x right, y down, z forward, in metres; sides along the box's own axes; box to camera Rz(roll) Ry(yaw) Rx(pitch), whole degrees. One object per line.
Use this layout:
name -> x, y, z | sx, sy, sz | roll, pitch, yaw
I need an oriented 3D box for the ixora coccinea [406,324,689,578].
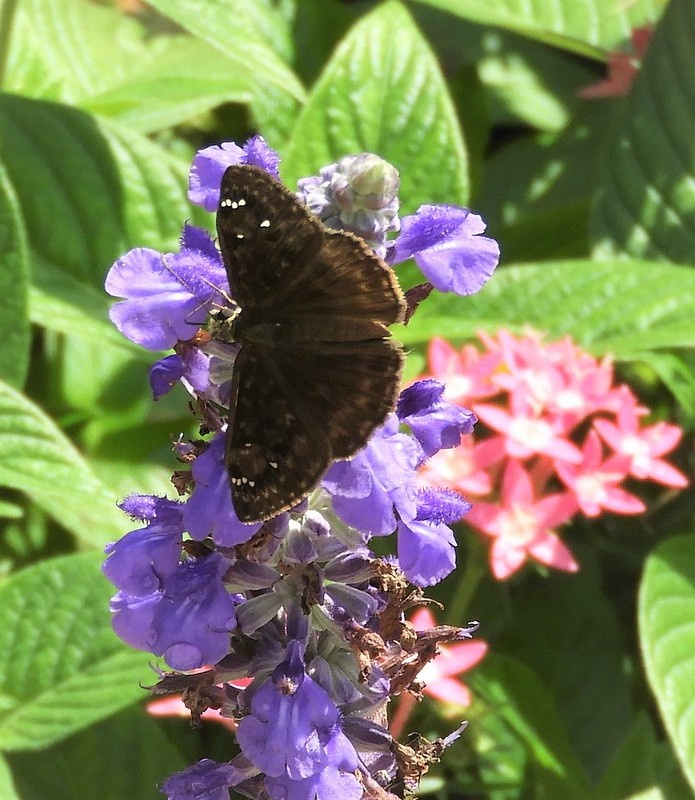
ixora coccinea -> 0.216, 0.061, 1.361 | 0.374, 0.332, 0.253 | -11, 35, -7
